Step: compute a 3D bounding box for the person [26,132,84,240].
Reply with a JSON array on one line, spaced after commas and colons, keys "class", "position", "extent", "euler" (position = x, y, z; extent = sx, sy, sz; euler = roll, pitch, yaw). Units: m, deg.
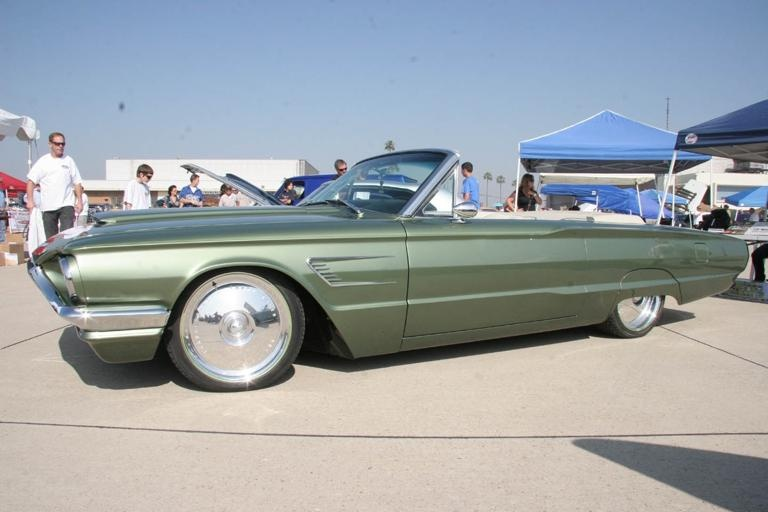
[{"class": "person", "position": [-5.067, -0.839, 7.366], "extent": [0.555, 1.993, 0.865], "euler": [19, 18, 38]}]
